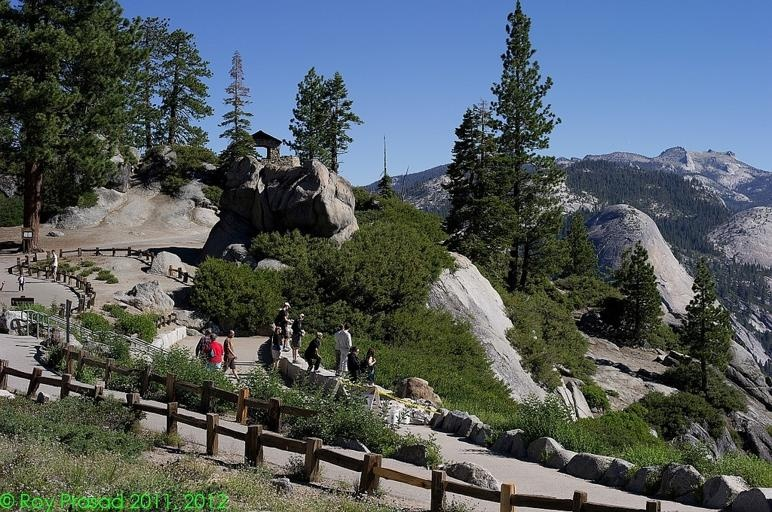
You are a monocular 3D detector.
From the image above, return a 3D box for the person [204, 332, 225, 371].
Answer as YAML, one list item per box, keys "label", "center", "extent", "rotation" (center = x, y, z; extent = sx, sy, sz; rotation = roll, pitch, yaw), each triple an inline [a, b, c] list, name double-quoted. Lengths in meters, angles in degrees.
- label: "person"
  center: [-8.134, 4.524, 32.276]
  extent: [0.938, 1.651, 2.401]
  rotation: [9, -2, -10]
